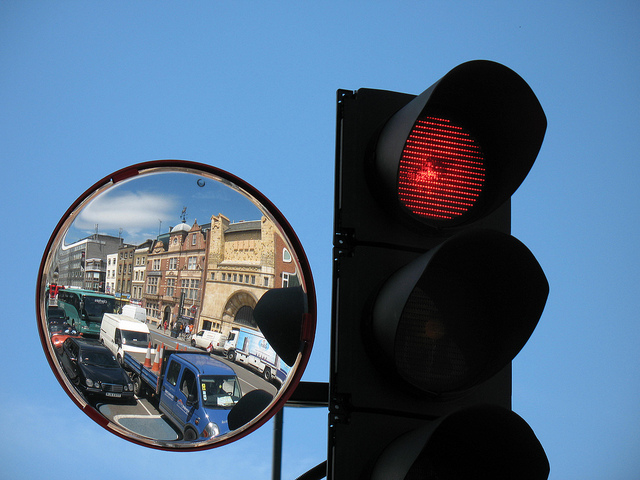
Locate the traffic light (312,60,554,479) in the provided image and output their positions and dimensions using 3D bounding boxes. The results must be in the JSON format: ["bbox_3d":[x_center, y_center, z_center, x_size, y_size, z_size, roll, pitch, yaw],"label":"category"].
[{"bbox_3d":[0.340,0.082,1.794,0.629,1.040,0.770,5,30,-8],"label":"traffic light"}]
